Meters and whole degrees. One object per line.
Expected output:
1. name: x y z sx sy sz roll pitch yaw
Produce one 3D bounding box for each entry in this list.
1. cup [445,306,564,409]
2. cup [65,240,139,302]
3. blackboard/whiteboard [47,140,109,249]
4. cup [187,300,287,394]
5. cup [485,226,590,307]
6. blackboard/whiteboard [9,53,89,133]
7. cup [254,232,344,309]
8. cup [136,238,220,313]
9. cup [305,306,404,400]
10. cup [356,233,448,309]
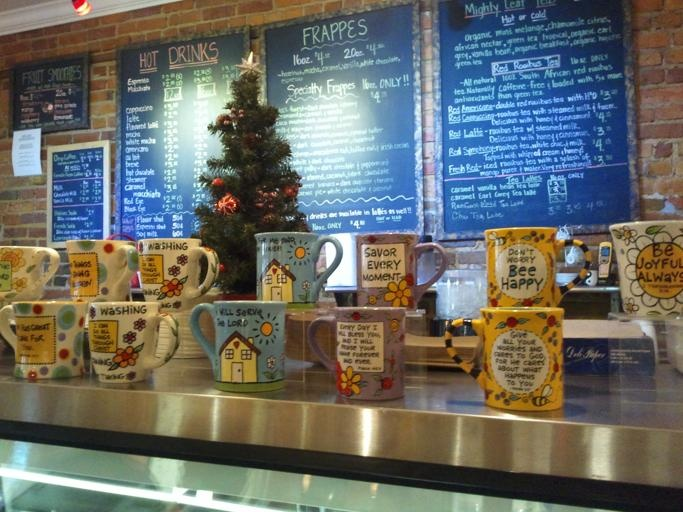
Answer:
1. cup: 0.232 0.146 0.880 0.157 0.135 0.099 -1 -3 10
2. cup: -0.452 0.025 1.219 0.148 0.138 0.095 -2 -5 26
3. blackboard/whiteboard: -1.639 -0.381 3.741 0.495 0.642 0.173 -4 9 21
4. cup: -0.154 0.141 0.915 0.151 0.129 0.100 -2 -5 14
5. cup: 0.295 0.017 0.918 0.167 0.144 0.105 0 -3 2
6. blackboard/whiteboard: -1.829 -1.024 3.813 0.547 0.450 0.057 0 -2 19
7. cup: -0.074 0.016 1.068 0.162 0.115 0.103 1 -3 -5
8. cup: -0.285 0.044 1.145 0.169 0.146 0.109 2 -2 10
9. cup: 0.031 0.143 0.877 0.143 0.124 0.090 -1 -5 20
10. cup: 0.102 0.023 1.082 0.165 0.146 0.096 0 -2 5
